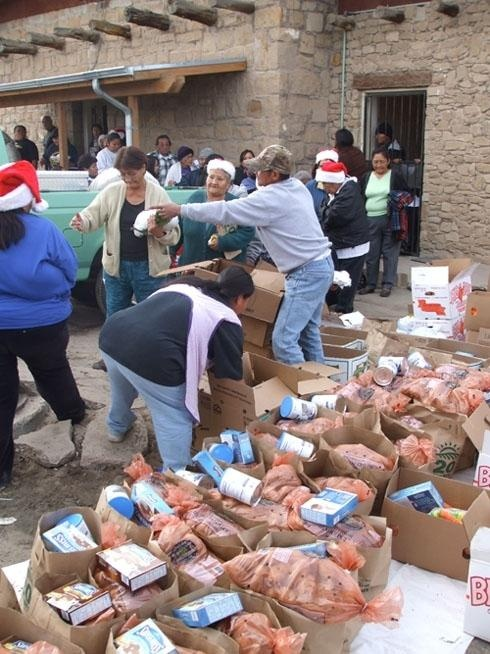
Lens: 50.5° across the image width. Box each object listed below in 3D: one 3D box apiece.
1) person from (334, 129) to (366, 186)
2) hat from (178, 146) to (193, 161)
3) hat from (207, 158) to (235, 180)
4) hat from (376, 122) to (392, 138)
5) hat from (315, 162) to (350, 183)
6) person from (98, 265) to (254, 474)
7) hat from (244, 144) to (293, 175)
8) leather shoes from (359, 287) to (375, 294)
[{"bbox_3d":[1.764,-2.636,8.238,0.384,1.042,0.317,-21,51,15],"label":"person"},{"bbox_3d":[-1.022,-2.869,8.664,0.278,0.202,0.262,-4,14,5],"label":"hat"},{"bbox_3d":[-0.179,-1.232,4.044,0.162,0.151,0.206,15,22,18],"label":"hat"},{"bbox_3d":[2.348,-3.298,8.703,0.255,0.248,0.269,4,12,13],"label":"hat"},{"bbox_3d":[0.998,-1.726,5.840,0.354,0.213,0.228,-1,58,-6],"label":"hat"},{"bbox_3d":[-0.400,0.224,2.903,0.814,1.016,0.812,8,19,12],"label":"person"},{"bbox_3d":[0.160,-1.074,3.367,0.288,0.147,0.170,9,51,-10],"label":"hat"},{"bbox_3d":[1.822,-0.552,7.772,0.216,0.078,0.106,-3,11,-37],"label":"leather shoes"}]
